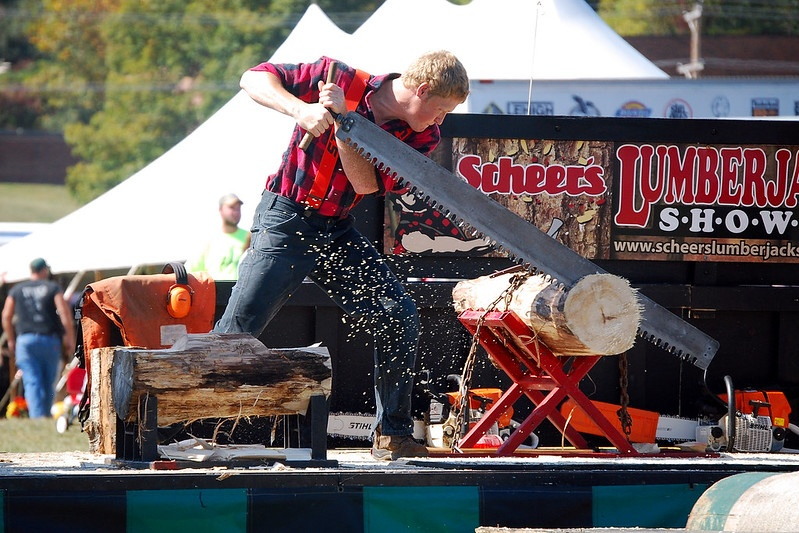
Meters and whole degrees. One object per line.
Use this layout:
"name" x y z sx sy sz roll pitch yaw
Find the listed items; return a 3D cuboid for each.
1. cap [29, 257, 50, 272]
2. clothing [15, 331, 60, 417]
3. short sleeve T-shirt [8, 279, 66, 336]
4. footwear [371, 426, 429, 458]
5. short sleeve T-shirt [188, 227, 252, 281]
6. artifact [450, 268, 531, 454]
"cap" -7.085 -0.006 41.600 0.324 0.307 0.249 -18 12 12
"clothing" -7.139 2.153 41.886 0.865 1.666 0.296 0 3 -12
"short sleeve T-shirt" -7.163 0.810 41.889 1.088 1.083 0.569 -1 1 -9
"footwear" 0.009 3.043 36.249 0.971 0.443 0.419 -1 -2 9
"short sleeve T-shirt" -3.482 -0.216 40.688 1.085 1.087 0.328 21 -18 17
"artifact" 1.567 1.387 36.719 0.786 2.982 0.330 3 -35 13
